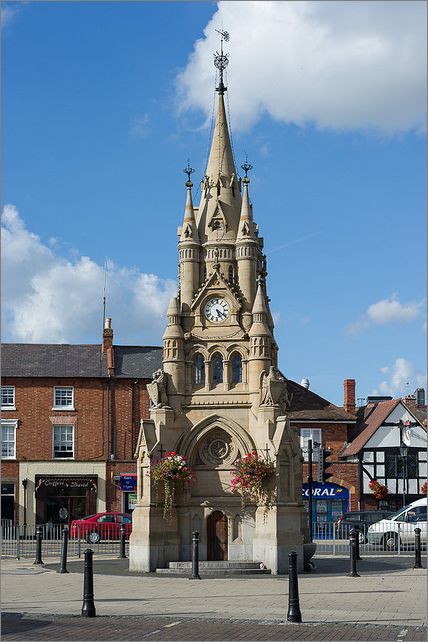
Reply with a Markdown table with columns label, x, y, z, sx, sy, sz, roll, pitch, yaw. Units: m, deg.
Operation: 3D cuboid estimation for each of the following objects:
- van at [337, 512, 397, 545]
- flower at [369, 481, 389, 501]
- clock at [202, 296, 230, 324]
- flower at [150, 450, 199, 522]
| label | x | y | z | sx | sy | sz | roll | pitch | yaw |
| --- | --- | --- | --- | --- | --- | --- | --- | --- | --- |
| van | 5.239 | 7.549 | 47.148 | 2.736 | 1.487 | 1.398 | -3 | -4 | -1 |
| flower | 6.849 | 6.920 | 54.761 | 0.773 | 0.805 | 0.640 | 2 | -10 | -19 |
| clock | 0.044 | -0.315 | 38.729 | 0.771 | 0.783 | 0.050 | -2 | -4 | -2 |
| flower | -1.087 | 4.443 | 36.211 | 1.189 | 1.742 | 0.979 | -10 | -8 | 27 |
